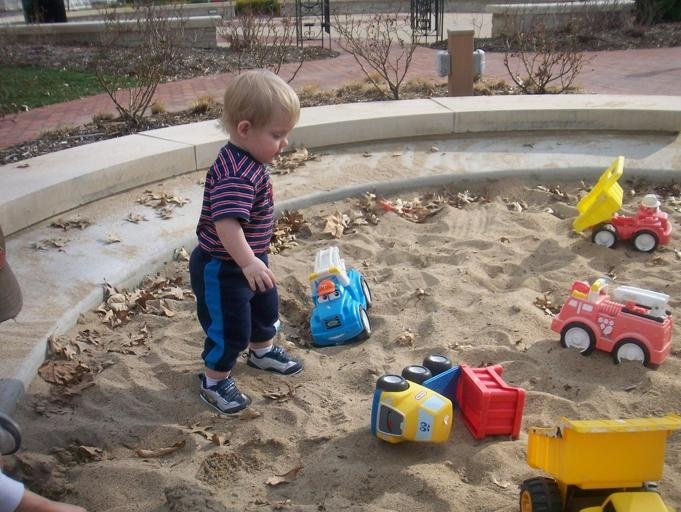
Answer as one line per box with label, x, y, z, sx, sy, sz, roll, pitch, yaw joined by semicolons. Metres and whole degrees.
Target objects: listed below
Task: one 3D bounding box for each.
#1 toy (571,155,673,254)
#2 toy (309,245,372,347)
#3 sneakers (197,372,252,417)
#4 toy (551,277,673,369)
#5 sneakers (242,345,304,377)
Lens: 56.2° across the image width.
toy;2.287;-0.489;5.487;1.049;0.854;0.600;0;33;17
toy;0.010;0.255;4.600;0.384;0.436;0.708;-16;30;18
sneakers;-0.716;0.862;3.934;0.359;0.154;0.157;22;37;16
toy;1.769;0.373;4.122;0.714;0.520;0.379;13;30;29
sneakers;-0.423;0.690;4.256;0.431;0.171;0.147;8;15;1
